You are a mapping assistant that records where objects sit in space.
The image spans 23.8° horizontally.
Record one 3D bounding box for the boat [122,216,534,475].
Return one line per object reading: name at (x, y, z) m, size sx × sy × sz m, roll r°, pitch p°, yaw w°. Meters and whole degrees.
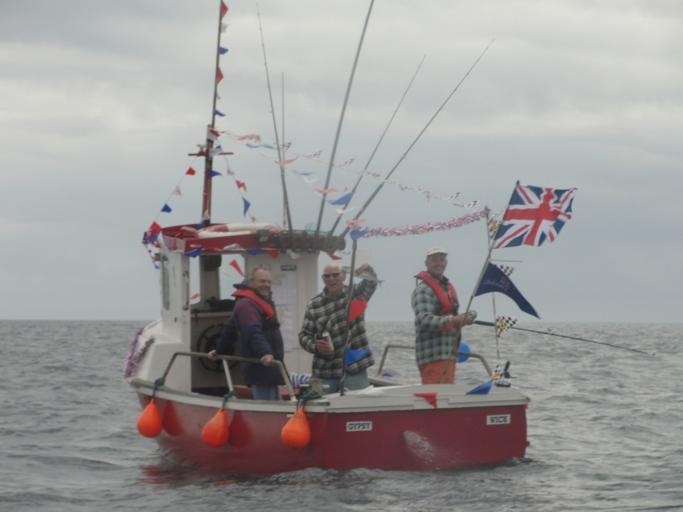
boat at (-0.835, 1.681, 25.524) m, size 3.603 × 2.582 × 6.232 m, roll 0°, pitch 3°, yaw -45°
